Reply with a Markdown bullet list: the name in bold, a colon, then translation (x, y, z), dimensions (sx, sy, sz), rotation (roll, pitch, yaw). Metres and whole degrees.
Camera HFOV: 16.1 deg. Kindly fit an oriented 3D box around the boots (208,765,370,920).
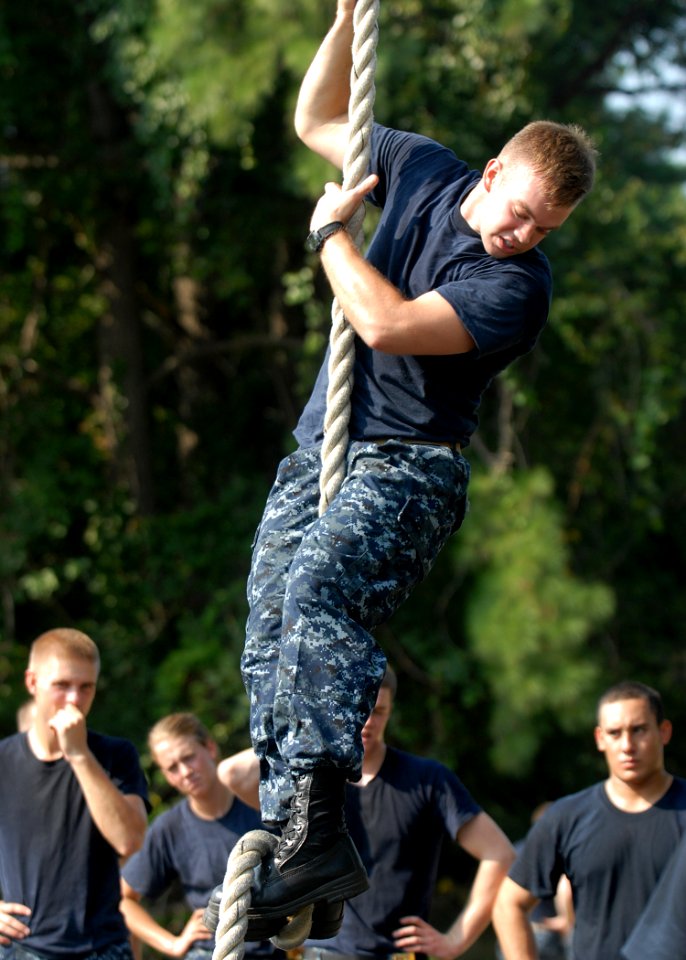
- **boots**: translation (-0.207, 1.280, 8.540), dimensions (0.588, 0.519, 0.239), rotation (-10, 8, -26)
